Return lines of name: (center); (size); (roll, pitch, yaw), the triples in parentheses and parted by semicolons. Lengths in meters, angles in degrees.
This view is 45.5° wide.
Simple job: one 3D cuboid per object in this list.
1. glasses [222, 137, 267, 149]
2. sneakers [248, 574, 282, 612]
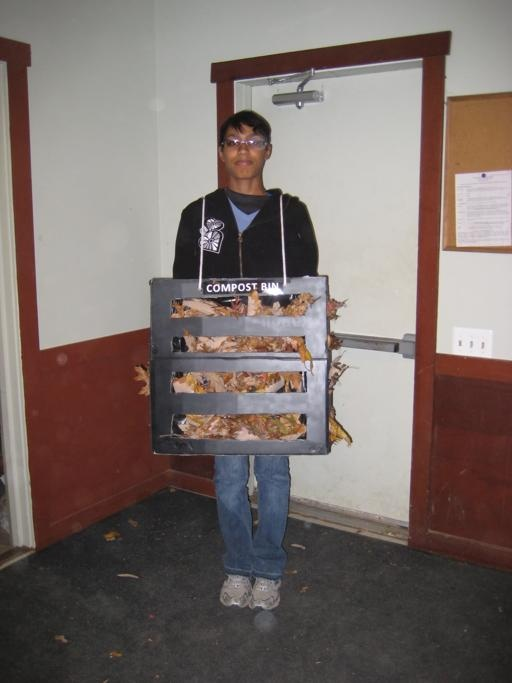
glasses: (-0.039, -0.703, 2.166); (0.148, 0.040, 0.052); (-1, 13, -1)
sneakers: (0.036, 0.955, 2.310); (0.084, 0.052, 0.143); (2, -3, 1)
